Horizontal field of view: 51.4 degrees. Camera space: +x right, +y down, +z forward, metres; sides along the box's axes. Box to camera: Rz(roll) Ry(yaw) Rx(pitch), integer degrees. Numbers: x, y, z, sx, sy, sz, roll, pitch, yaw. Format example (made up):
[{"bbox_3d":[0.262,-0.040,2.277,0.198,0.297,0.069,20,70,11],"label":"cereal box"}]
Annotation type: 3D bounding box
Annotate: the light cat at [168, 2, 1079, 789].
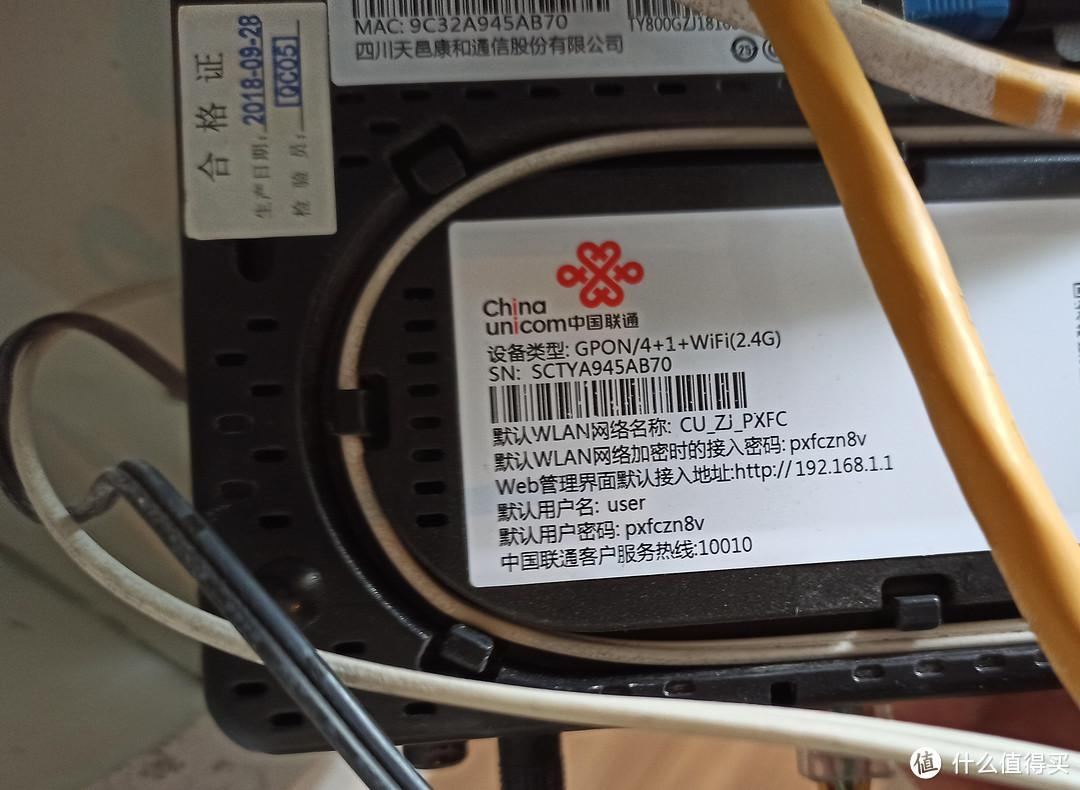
[{"bbox_3d":[0.077,-0.033,0.800,0.659,0.101,0.533,-4,83,1],"label":"light cat"}]
